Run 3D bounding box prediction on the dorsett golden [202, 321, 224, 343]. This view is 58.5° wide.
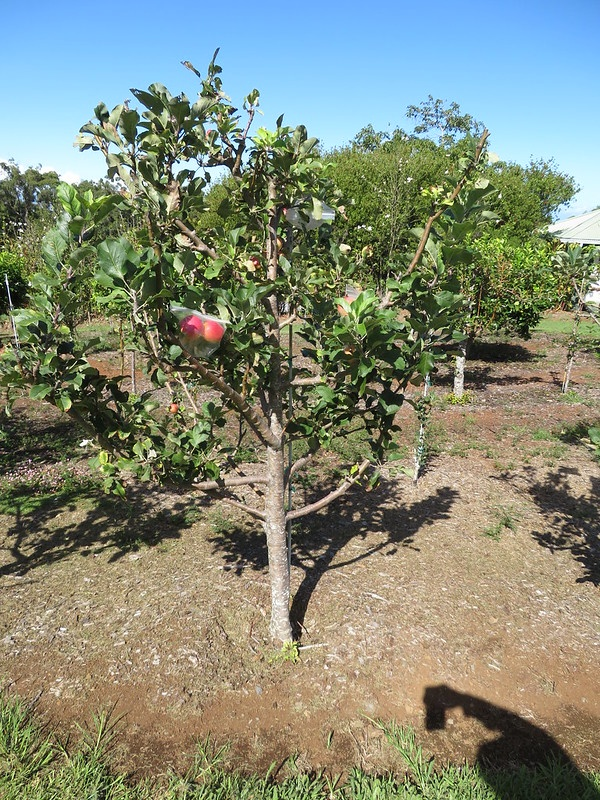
[{"bbox_3d":[-0.382,-0.306,2.437,0.044,0.112,0.148,9,16,23],"label":"dorsett golden"}]

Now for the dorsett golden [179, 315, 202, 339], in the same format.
[{"bbox_3d":[-0.474,-0.317,2.353,0.091,0.103,0.035,-1,15,-10],"label":"dorsett golden"}]
